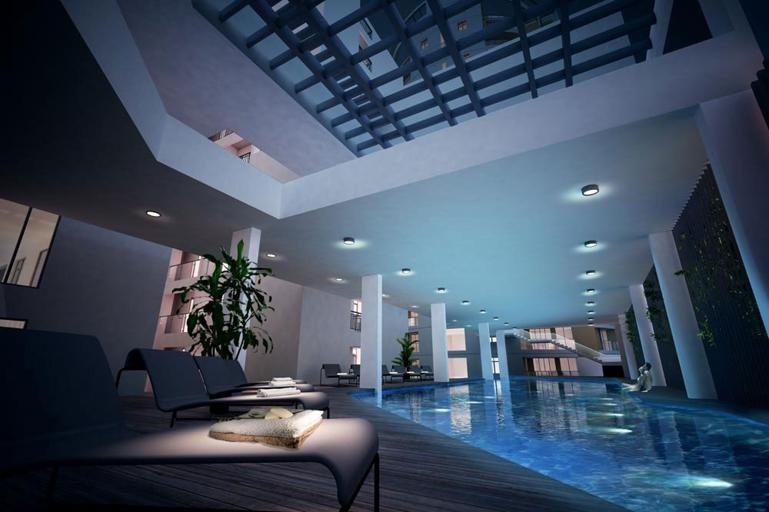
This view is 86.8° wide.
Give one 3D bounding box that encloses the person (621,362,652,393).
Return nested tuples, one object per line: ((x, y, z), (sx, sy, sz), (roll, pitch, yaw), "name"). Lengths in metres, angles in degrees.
((6.723, 3.175, 10.703), (0.507, 0.698, 1.735), (-9, -15, 33), "person")

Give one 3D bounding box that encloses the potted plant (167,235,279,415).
((-2.887, 1.082, 7.194), (1.614, 2.851, 1.521), (-11, -28, 31), "potted plant")

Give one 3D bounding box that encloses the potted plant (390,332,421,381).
((0.990, 4.264, 17.249), (1.211, 1.998, 1.051), (17, -21, -39), "potted plant")
